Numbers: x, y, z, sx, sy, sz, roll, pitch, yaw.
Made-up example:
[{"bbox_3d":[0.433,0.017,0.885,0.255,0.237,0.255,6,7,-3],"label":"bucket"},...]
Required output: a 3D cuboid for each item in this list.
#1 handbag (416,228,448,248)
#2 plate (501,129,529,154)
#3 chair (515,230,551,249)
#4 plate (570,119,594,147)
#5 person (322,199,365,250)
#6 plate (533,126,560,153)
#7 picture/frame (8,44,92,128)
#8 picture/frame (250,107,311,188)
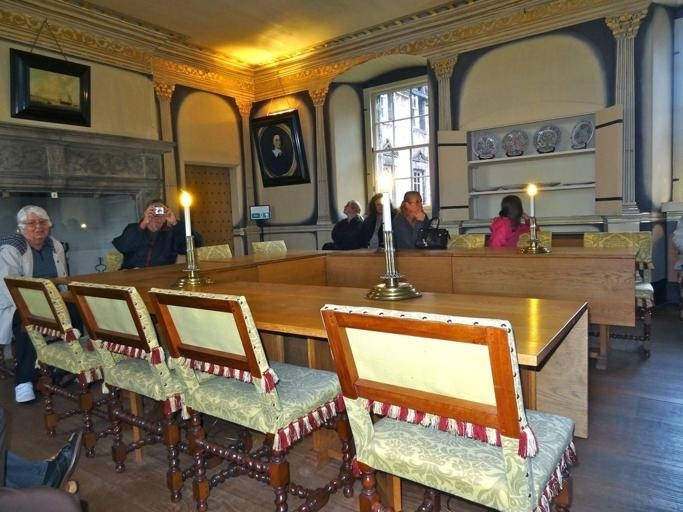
[{"bbox_3d":[0.783,-0.158,4.152,0.161,0.147,0.074,4,8,25],"label":"handbag"},{"bbox_3d":[2.197,-1.438,6.036,0.079,0.323,0.303,-4,13,-44],"label":"plate"},{"bbox_3d":[1.655,-0.157,4.129,0.266,0.134,0.936,2,9,22],"label":"chair"},{"bbox_3d":[2.823,-1.428,5.618,0.233,0.312,0.100,3,10,28],"label":"plate"},{"bbox_3d":[0.111,-0.412,6.640,0.373,0.686,1.073,-6,9,-24],"label":"person"},{"bbox_3d":[2.513,-1.436,5.854,0.313,0.313,0.081,20,12,39],"label":"plate"},{"bbox_3d":[-3.459,-1.997,5.608,0.062,0.886,1.177,8,10,36],"label":"picture/frame"},{"bbox_3d":[-0.998,-1.725,7.791,0.909,1.161,0.414,5,11,37],"label":"picture/frame"}]
